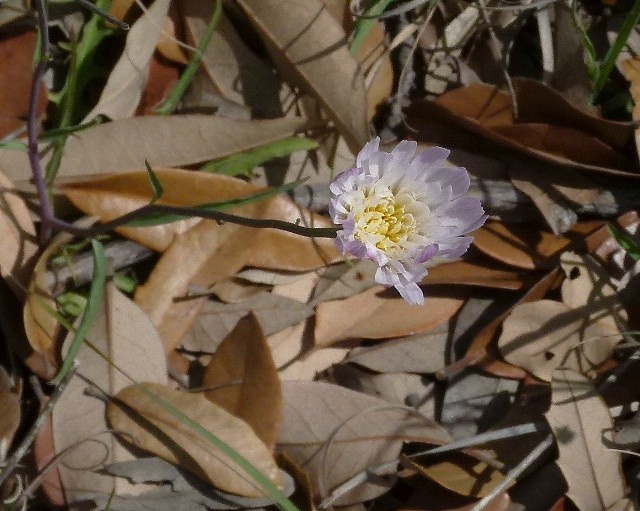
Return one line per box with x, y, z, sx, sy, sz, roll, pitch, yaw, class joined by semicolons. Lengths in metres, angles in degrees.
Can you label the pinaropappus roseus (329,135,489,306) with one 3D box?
0.136;-0.088;1.046;0.188;0.084;0.195;-10;39;-42;pinaropappus roseus
